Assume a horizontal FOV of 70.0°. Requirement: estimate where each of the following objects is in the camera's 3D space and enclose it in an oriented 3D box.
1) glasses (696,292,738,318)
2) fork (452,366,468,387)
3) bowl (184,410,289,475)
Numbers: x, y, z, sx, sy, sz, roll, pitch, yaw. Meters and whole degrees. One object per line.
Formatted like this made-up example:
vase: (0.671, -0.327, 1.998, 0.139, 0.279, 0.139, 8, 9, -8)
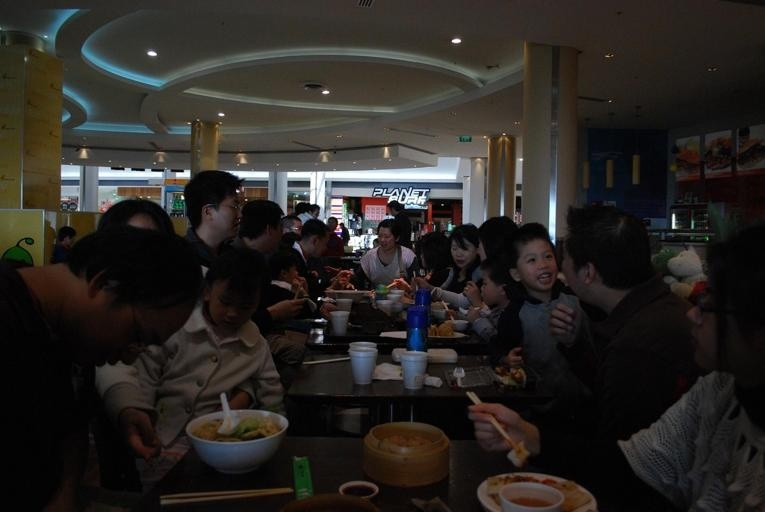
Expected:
glasses: (0.795, 0.118, 1.298, 0.068, 0.040, 0.054, 26, 11, 29)
fork: (0.313, 0.504, 2.254, 0.057, 0.072, 0.056, 0, -7, 0)
bowl: (-0.445, 0.511, 1.674, 0.281, 0.145, 0.284, 1, 4, 0)
